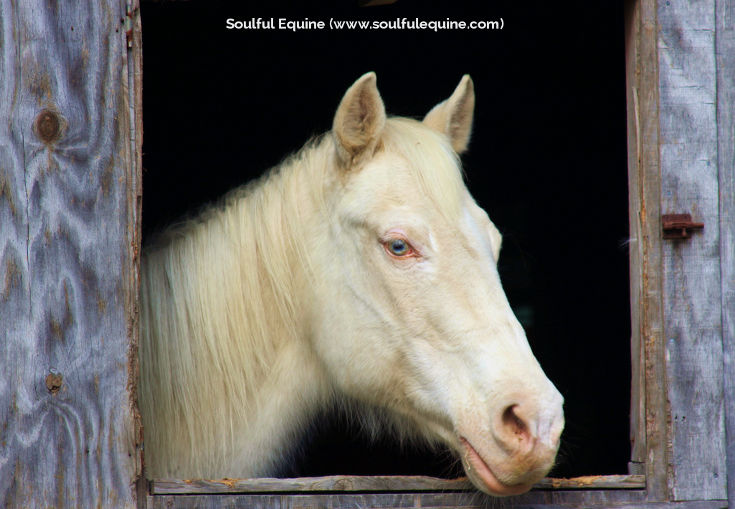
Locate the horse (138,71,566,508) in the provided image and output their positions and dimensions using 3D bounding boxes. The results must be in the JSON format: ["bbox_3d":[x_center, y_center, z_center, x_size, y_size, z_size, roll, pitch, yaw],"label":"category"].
[{"bbox_3d":[-0.260,0.273,7.120,2.522,2.153,0.814,0,4,43],"label":"horse"}]
